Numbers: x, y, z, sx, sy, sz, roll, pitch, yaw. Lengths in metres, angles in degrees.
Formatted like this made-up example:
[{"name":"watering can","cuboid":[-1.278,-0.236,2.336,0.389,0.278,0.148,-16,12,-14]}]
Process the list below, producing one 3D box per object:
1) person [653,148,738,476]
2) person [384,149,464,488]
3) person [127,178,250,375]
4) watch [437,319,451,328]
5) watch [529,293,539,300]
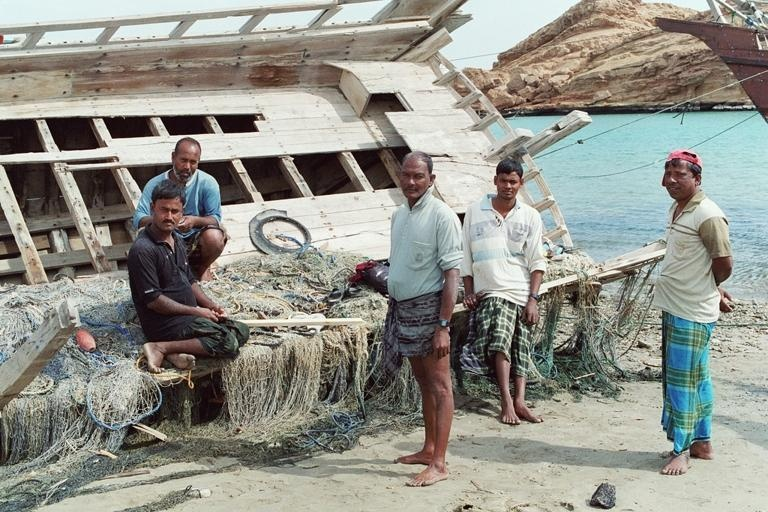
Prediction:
[{"name":"person","cuboid":[2.453,0.430,4.914,0.613,2.498,0.954,5,16,12]},{"name":"person","cuboid":[0.316,0.475,4.716,0.548,2.498,0.882,0,16,-5]},{"name":"person","cuboid":[-1.745,0.158,5.420,0.907,1.617,0.614,-3,16,-17]},{"name":"watch","cuboid":[0.457,0.507,4.673,0.109,0.041,0.084,5,-1,-16]},{"name":"watch","cuboid":[1.388,0.388,5.809,0.038,0.077,0.093,-40,-18,19]}]
